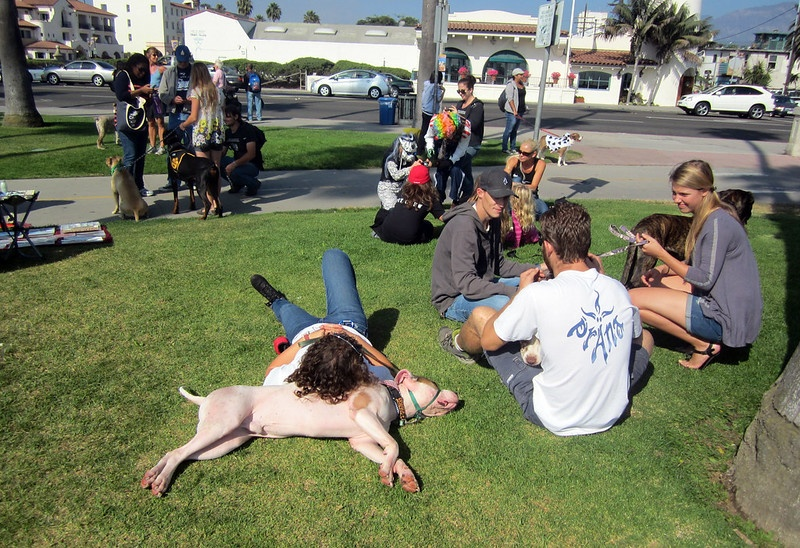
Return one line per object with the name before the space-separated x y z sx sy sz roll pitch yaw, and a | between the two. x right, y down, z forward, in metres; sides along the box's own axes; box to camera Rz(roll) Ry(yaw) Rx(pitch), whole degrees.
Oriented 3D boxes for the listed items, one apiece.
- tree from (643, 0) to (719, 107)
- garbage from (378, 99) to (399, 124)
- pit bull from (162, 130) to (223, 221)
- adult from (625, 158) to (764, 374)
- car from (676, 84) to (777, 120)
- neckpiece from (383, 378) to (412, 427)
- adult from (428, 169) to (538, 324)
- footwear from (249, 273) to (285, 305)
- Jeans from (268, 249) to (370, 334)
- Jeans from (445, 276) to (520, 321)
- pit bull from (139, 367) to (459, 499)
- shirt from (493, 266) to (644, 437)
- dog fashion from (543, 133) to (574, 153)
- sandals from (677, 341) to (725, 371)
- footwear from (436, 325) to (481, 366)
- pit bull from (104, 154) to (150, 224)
tree | 22.147 -17.580 42.170 5.136 7.436 2.374 -7 22 -20
garbage | -0.380 -6.217 19.976 0.869 1.151 0.883 3 28 7
pit bull | -3.565 -1.712 9.051 0.714 1.320 1.199 -17 27 -38
adult | 2.909 -0.070 5.237 1.180 2.002 0.866 2 10 17
car | 19.805 -10.396 31.709 4.678 1.896 2.295 8 18 17
neckpiece | -0.003 1.099 4.590 0.112 0.371 0.268 -19 30 -21
adult | 0.928 -0.283 5.603 1.128 1.618 1.238 4 16 25
footwear | -1.538 0.183 6.077 0.358 0.139 0.147 44 -1 12
Jeans | -0.634 0.262 5.412 0.806 0.272 0.904 -25 47 4
Jeans | 0.861 0.159 5.455 0.608 0.194 0.535 -31 8 -9
pit bull | -0.777 1.173 4.283 1.599 0.566 1.031 7 -1 -6
shirt | 1.495 0.565 4.200 1.286 0.603 1.517 -12 32 8
dog fashion | 4.079 -3.340 13.478 0.720 0.494 1.240 7 23 15
sandals | 2.982 0.838 5.307 0.486 0.198 0.218 -31 21 33
footwear | 0.572 0.734 5.387 0.195 0.247 0.522 -24 49 -25
pit bull | -4.486 -1.502 8.738 0.443 0.697 1.382 -12 48 -31
